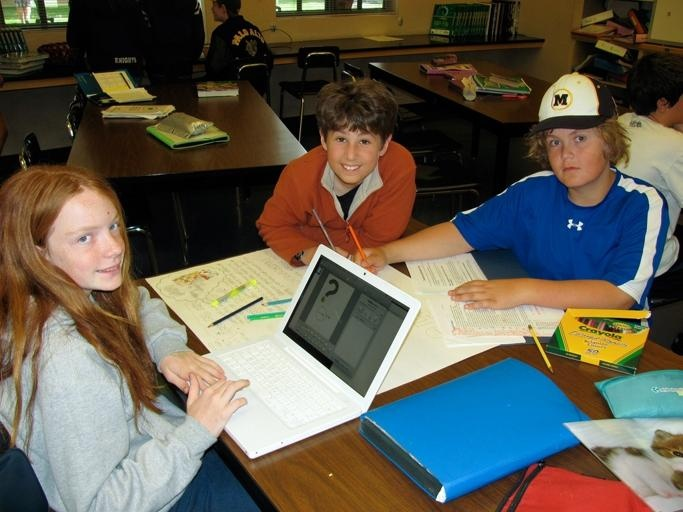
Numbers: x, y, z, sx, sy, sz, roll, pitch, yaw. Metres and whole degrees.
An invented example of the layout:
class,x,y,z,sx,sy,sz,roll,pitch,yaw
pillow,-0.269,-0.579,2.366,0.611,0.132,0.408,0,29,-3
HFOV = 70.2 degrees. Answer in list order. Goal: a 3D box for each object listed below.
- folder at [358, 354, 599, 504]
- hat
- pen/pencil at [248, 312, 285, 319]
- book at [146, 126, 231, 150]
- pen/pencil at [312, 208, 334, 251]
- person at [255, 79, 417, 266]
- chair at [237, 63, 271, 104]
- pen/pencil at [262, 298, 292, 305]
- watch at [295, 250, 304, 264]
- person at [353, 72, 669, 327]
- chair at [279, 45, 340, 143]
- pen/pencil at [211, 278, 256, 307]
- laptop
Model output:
class,x,y,z,sx,sy,sz,roll,pitch,yaw
folder,0.292,0.366,1.047,0.444,0.093,0.242,-12,32,-23
hat,0.755,-0.517,1.602,0.227,0.174,0.310,6,27,43
pen/pencil,-0.218,0.172,1.411,0.109,0.012,0.011,-4,0,-35
book,-0.916,-0.673,2.775,0.515,0.060,0.233,6,29,7
pen/pencil,-0.073,-0.107,1.825,0.019,0.190,0.015,-27,5,14
person,-0.015,-0.321,1.900,0.643,0.701,0.470,-4,39,-10
chair,-0.760,-1.563,4.338,0.244,0.415,0.291,-5,60,-9
pen/pencil,-0.196,0.137,1.464,0.109,0.015,0.015,-4,2,-40
watch,-0.140,0.001,1.675,0.033,0.020,0.036,18,70,19
person,0.698,-0.230,1.696,1.051,0.728,0.722,-16,25,-29
chair,-0.306,-1.704,4.905,0.463,0.798,0.506,-11,30,-28
pen/pencil,-0.335,0.115,1.502,0.016,0.016,0.151,23,36,36
laptop,-0.111,0.188,1.148,0.466,0.249,0.513,17,23,27
